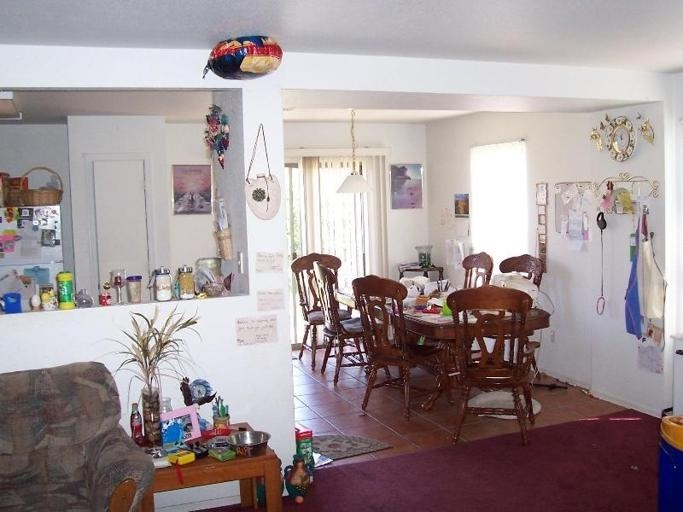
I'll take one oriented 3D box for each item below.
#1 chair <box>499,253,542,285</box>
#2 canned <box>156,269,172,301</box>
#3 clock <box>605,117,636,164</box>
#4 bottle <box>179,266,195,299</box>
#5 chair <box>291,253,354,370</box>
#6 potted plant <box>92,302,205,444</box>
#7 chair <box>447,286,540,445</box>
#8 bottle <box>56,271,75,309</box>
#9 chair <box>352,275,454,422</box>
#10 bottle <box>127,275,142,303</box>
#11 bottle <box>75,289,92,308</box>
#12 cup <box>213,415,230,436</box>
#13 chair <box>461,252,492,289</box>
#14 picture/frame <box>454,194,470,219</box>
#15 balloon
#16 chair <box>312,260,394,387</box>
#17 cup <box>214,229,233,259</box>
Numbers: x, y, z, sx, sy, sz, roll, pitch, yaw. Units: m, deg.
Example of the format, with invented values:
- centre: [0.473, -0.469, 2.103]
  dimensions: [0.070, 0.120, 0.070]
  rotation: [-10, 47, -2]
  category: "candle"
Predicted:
- centre: [1.885, 0.084, 5.462]
  dimensions: [0.332, 0.457, 0.360]
  rotation: [-4, 4, -40]
  category: "chair"
- centre: [-1.160, 0.180, 3.433]
  dimensions: [0.105, 0.204, 0.159]
  rotation: [-5, 7, -20]
  category: "canned"
- centre: [2.459, -1.019, 4.620]
  dimensions: [0.046, 0.393, 0.259]
  rotation: [-6, 7, -27]
  category: "clock"
- centre: [-1.021, 0.171, 3.477]
  dimensions: [0.108, 0.196, 0.191]
  rotation: [-4, 7, -16]
  category: "bottle"
- centre: [-0.077, 0.728, 6.428]
  dimensions: [0.791, 1.376, 0.779]
  rotation: [9, 12, -7]
  category: "chair"
- centre: [-1.173, 0.657, 3.457]
  dimensions: [0.666, 0.999, 0.719]
  rotation: [-2, 6, -44]
  category: "potted plant"
- centre: [1.203, 0.830, 4.235]
  dimensions: [0.790, 1.164, 0.874]
  rotation: [-1, 1, 40]
  category: "chair"
- centre: [-1.715, 0.204, 3.271]
  dimensions: [0.099, 0.220, 0.236]
  rotation: [-6, 7, -29]
  category: "bottle"
- centre: [0.568, 0.805, 4.883]
  dimensions: [0.811, 1.161, 0.741]
  rotation: [-1, -1, -33]
  category: "chair"
- centre: [-1.332, 0.207, 3.382]
  dimensions: [0.084, 0.166, 0.187]
  rotation: [-5, 7, -25]
  category: "bottle"
- centre: [-1.607, 0.256, 3.298]
  dimensions: [0.093, 0.050, 0.120]
  rotation: [12, 7, -17]
  category: "bottle"
- centre: [-0.734, 1.034, 3.241]
  dimensions: [0.093, 0.089, 0.095]
  rotation: [1, 0, 0]
  category: "cup"
- centre: [1.565, 0.147, 6.102]
  dimensions: [0.310, 0.441, 1.042]
  rotation: [-1, 6, 13]
  category: "chair"
- centre: [1.546, -0.642, 6.693]
  dimensions: [0.015, 0.327, 0.285]
  rotation: [-4, 10, -27]
  category: "picture/frame"
- centre: [-0.533, -1.118, 2.987]
  dimensions: [0.321, 0.150, 0.263]
  rotation: [-17, 11, -15]
  category: "balloon"
- centre: [0.213, 0.670, 6.221]
  dimensions: [1.091, 1.831, 1.038]
  rotation: [-2, 7, -14]
  category: "chair"
- centre: [-0.834, -0.084, 3.752]
  dimensions: [0.104, 0.221, 0.216]
  rotation: [-8, 9, -42]
  category: "cup"
